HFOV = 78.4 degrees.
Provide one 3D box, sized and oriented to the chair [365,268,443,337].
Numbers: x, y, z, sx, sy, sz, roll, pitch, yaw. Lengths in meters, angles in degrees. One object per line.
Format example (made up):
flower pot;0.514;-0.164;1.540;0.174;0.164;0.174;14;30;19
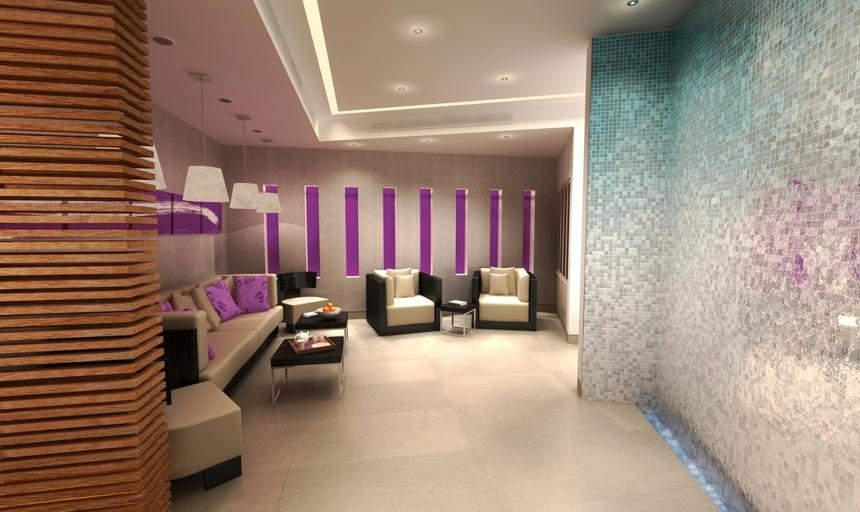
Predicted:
chair;-0.428;0.719;8.544;1.077;0.876;0.913;-3;9;-17

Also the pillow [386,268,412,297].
pillow;-0.513;0.461;8.587;0.451;0.459;0.266;1;-6;-18

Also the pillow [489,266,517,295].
pillow;1.244;0.451;8.982;0.444;0.423;0.233;-1;-11;15

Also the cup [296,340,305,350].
cup;-1.477;1.016;5.984;0.093;0.077;0.078;0;0;38

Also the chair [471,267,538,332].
chair;1.210;0.686;8.789;0.998;0.869;1.024;0;9;3

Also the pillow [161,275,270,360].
pillow;-2.786;1.092;7.306;0.720;0.653;1.631;1;7;3

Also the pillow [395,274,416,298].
pillow;-0.425;0.511;8.680;0.410;0.373;0.154;-2;3;-12

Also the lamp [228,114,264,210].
lamp;-2.694;-1.271;7.580;0.361;1.328;2.471;-4;9;-19

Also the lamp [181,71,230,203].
lamp;-2.895;-1.345;6.650;0.434;1.478;2.929;-4;9;-22

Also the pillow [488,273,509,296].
pillow;1.180;0.489;8.963;0.401;0.430;0.175;0;-7;8
